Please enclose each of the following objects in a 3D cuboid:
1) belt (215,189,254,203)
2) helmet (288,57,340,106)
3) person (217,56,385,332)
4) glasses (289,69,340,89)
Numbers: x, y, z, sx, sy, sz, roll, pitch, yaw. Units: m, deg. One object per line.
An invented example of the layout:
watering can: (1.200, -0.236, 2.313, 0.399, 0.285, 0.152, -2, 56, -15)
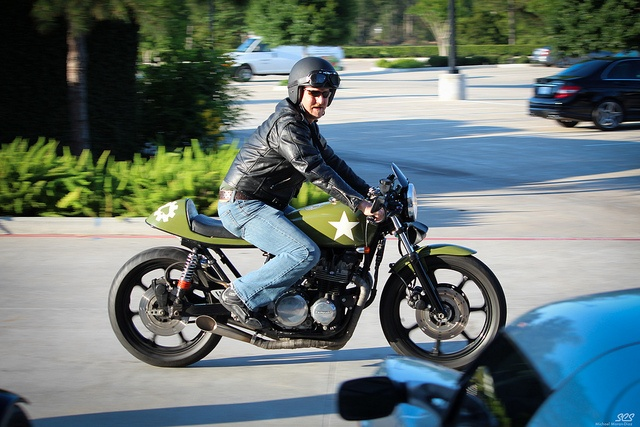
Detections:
belt: (-0.772, -0.154, 5.665, 0.231, 0.061, 0.154, 6, 7, -2)
helmet: (-0.065, -1.167, 5.606, 0.534, 0.292, 0.415, -1, 8, 12)
person: (-0.271, -0.185, 5.684, 1.352, 2.348, 0.882, -3, 16, -2)
glasses: (-0.055, -1.146, 5.507, 0.448, 0.158, 0.219, -2, 13, -2)
